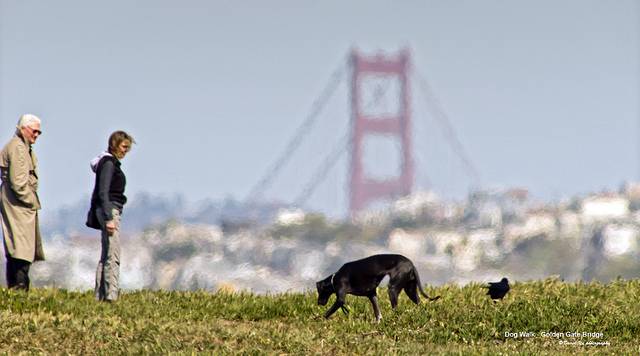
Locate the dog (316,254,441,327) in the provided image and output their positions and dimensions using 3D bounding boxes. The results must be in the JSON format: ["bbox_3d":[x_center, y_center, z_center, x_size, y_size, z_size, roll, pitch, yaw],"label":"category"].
[{"bbox_3d":[1.330,3.040,36.323,2.763,1.922,0.925,1,-13,1],"label":"dog"}]

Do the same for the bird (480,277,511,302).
[{"bbox_3d":[4.742,3.036,36.944,0.391,0.725,1.170,-14,-22,39],"label":"bird"}]
